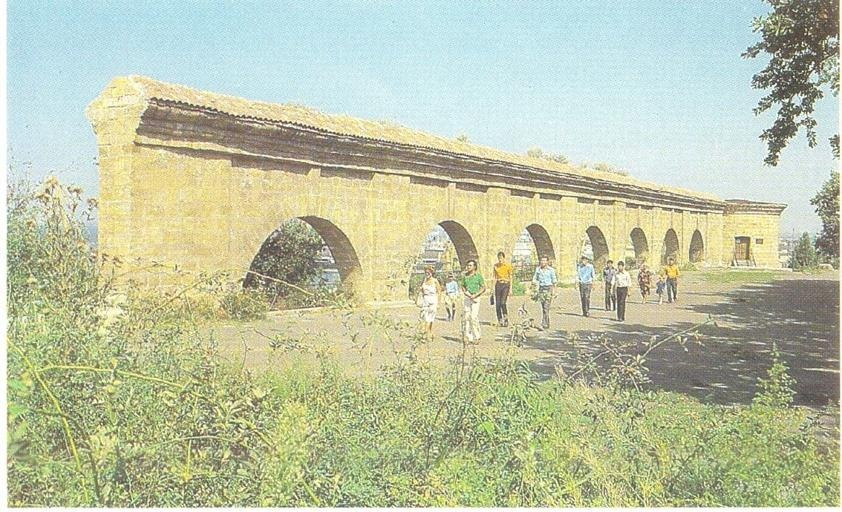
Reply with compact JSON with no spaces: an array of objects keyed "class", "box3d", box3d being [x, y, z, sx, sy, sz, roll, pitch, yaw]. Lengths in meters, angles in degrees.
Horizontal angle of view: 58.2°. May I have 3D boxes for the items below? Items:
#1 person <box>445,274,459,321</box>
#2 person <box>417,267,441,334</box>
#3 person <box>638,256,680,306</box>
[{"class":"person","box3d":[0.802,1.055,19.651,0.308,0.928,0.734,1,0,0]},{"class":"person","box3d":[0.157,0.912,15.458,0.430,1.124,0.881,1,0,1]},{"class":"person","box3d":[8.867,0.940,28.262,1.397,1.649,0.578,-1,-9,6]}]
